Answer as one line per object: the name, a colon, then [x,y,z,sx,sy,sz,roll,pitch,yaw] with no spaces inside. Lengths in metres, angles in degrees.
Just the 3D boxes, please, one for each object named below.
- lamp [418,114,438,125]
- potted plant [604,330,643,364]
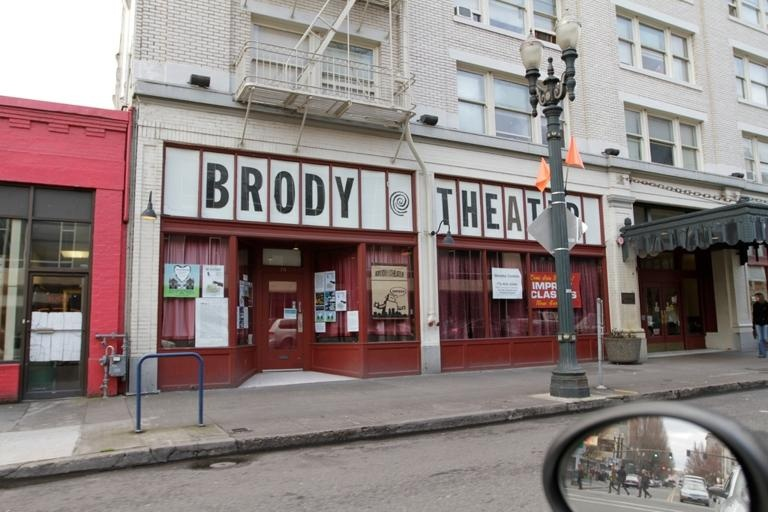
lamp: [1.385,-4.144,18.115,0.636,0.413,0.286,2,-8,-14]
potted plant: [7.668,2.924,19.132,1.060,0.763,1.058,0,-5,6]
